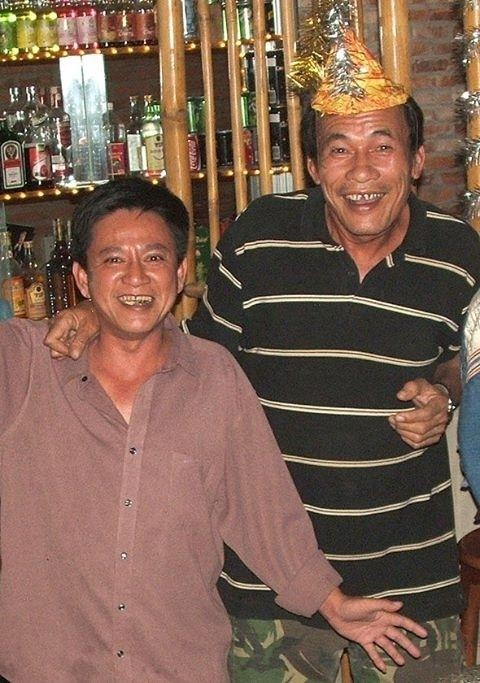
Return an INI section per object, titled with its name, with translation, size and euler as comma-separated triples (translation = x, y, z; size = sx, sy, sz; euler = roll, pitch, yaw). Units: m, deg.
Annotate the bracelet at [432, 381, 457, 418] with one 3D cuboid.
[bracelet]
translation = 0.362, 0.100, 1.176
size = 0.026, 0.069, 0.029
euler = -26, 22, 20
